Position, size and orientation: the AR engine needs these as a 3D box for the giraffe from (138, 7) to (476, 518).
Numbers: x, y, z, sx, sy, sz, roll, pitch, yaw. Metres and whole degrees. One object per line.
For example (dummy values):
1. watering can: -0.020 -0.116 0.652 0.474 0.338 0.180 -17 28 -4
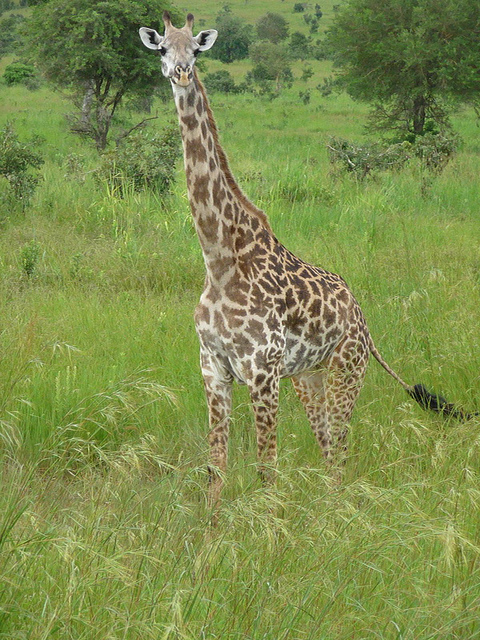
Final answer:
1. giraffe: 0.229 -0.341 3.843 1.366 2.420 2.138 -2 7 -9
